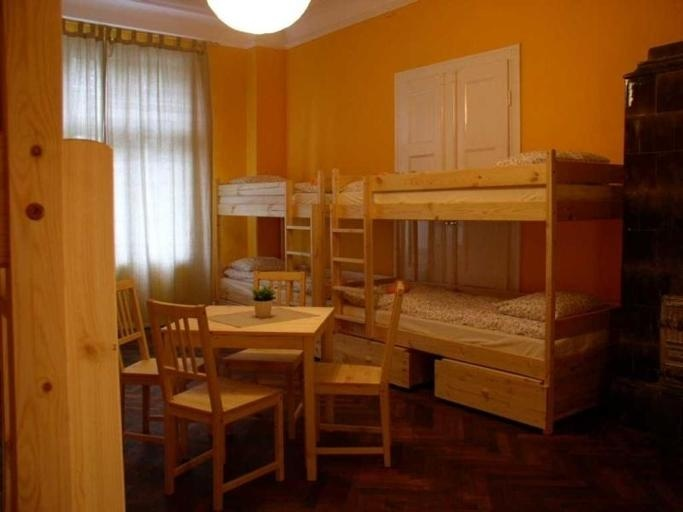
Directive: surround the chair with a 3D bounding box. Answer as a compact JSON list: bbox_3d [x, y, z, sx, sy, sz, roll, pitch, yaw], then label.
[{"bbox_3d":[-0.365,0.697,3.211,1.172,0.796,1.186,-1,3,11],"label":"chair"}]
